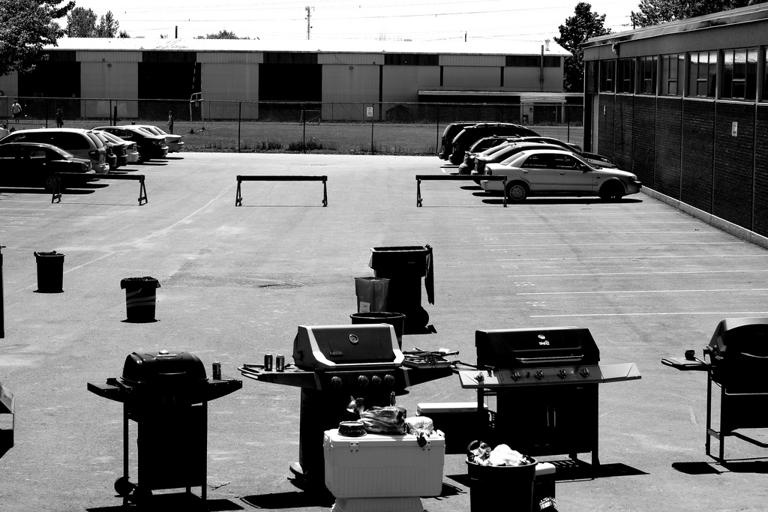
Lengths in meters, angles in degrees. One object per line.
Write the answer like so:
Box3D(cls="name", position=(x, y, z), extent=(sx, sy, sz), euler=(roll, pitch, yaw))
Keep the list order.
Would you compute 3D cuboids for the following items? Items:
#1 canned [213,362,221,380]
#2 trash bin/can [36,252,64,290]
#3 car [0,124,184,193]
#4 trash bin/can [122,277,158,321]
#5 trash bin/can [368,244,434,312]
Box3D(cls="canned", position=(-2.899, 1.961, 23.892), extent=(0.119, 0.269, 0.195), euler=(-2, 9, -14))
Box3D(cls="trash bin/can", position=(-7.854, 0.367, 32.665), extent=(0.639, 0.927, 0.523), euler=(-2, 9, -15))
Box3D(cls="car", position=(-10.641, -3.361, 51.457), extent=(5.995, 1.854, 2.802), euler=(2, 6, 5))
Box3D(cls="trash bin/can", position=(-5.333, 0.955, 30.424), extent=(0.918, 1.054, 0.858), euler=(0, 4, -6))
Box3D(cls="trash bin/can", position=(0.356, 0.352, 30.969), extent=(1.612, 1.501, 1.225), euler=(0, 7, -5))
